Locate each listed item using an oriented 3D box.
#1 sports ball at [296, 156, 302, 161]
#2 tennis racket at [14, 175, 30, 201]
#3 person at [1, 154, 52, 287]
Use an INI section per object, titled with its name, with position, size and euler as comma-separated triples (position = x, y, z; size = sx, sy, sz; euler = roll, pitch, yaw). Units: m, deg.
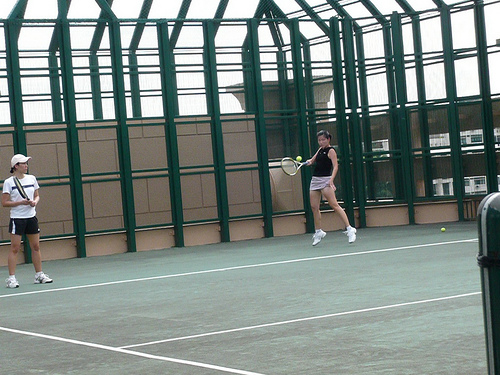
[sports ball]
position = 1.152, -0.689, 14.021
size = 0.121, 0.113, 0.112
euler = -4, -44, -4
[tennis racket]
position = -3.585, 0.000, 9.599
size = 0.339, 0.344, 0.157
euler = -8, -2, 39
[person]
position = -3.600, 0.530, 9.661
size = 0.672, 1.822, 0.582
euler = -6, -1, -20
